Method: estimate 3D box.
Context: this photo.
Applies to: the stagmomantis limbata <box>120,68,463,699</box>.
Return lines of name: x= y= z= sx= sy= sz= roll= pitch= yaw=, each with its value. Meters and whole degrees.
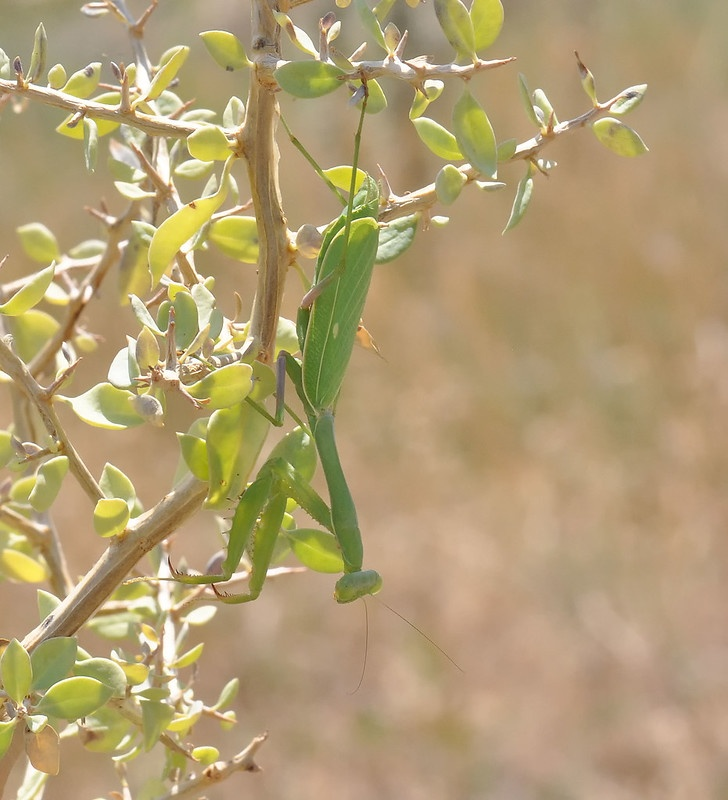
stagmomantis limbata: x=-0.035 y=0.044 z=1.151 sx=0.190 sy=0.486 sz=0.339 roll=13 pitch=-78 yaw=-10
